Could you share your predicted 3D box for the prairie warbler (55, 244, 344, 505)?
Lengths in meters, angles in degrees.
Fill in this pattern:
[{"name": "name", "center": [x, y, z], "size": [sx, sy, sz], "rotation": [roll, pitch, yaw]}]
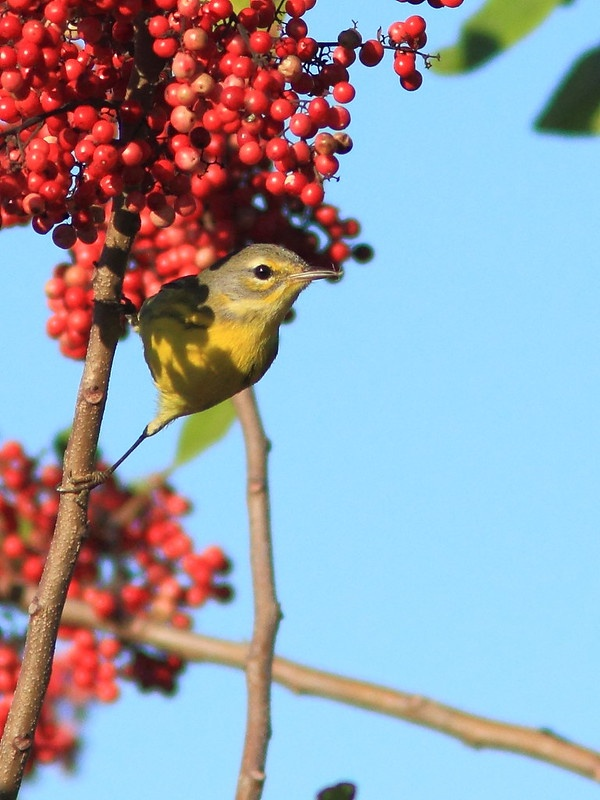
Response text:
[{"name": "prairie warbler", "center": [-0.322, -0.155, 5.265], "size": [1.090, 0.623, 0.533], "rotation": [-22, -34, 33]}]
